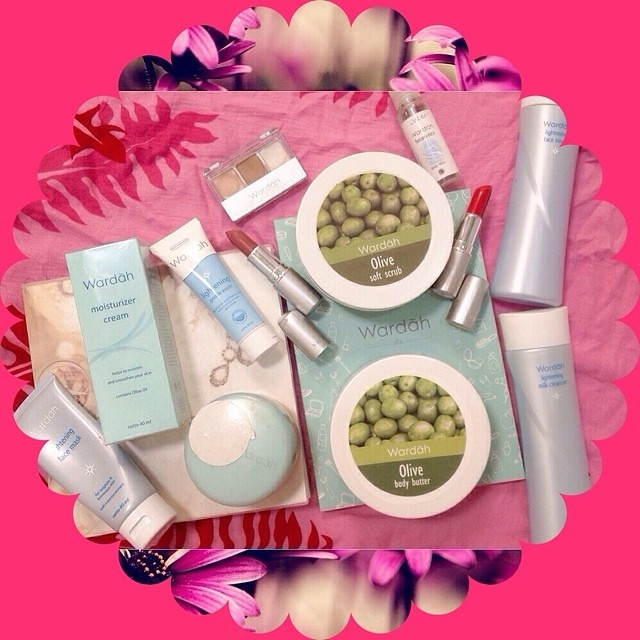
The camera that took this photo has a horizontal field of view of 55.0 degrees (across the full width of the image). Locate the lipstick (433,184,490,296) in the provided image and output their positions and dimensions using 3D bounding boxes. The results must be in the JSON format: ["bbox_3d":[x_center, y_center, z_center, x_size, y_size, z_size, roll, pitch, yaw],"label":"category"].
[{"bbox_3d":[0.232,-0.118,0.940,0.048,0.169,0.048,13,23,-19],"label":"lipstick"}]

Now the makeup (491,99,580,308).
[{"bbox_3d":[0.339,-0.189,0.986,0.132,0.112,0.318,1,95,-25],"label":"makeup"}]
